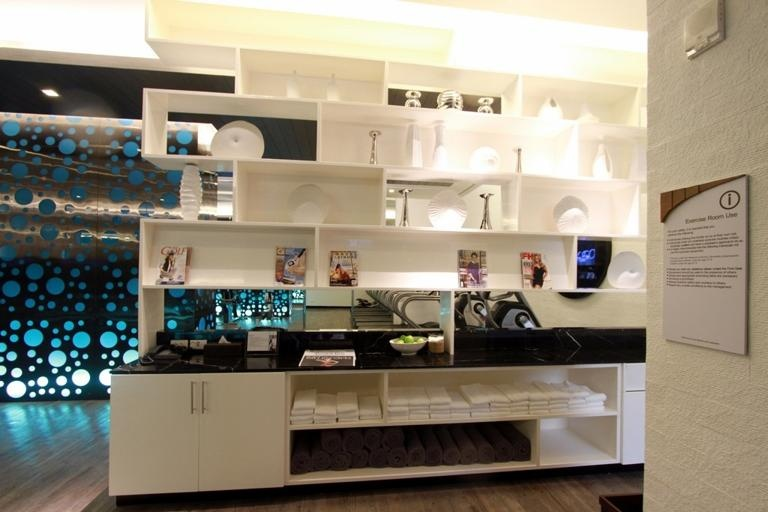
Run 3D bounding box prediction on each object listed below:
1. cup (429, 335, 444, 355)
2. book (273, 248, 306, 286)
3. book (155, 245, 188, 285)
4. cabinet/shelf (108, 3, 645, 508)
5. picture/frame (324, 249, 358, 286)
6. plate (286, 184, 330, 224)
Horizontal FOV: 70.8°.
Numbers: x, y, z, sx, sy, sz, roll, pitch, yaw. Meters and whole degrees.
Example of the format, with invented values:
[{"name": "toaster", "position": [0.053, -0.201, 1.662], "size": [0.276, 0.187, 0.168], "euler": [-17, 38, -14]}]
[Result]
[{"name": "cup", "position": [0.462, 0.770, 4.718], "size": [0.146, 0.135, 0.144], "euler": [2, -4, 0]}, {"name": "book", "position": [-0.810, 0.097, 4.658], "size": [0.303, 0.401, 0.043], "euler": [6, -20, -9]}, {"name": "book", "position": [-1.773, 0.073, 4.562], "size": [0.223, 0.303, 0.073], "euler": [3, -9, -4]}, {"name": "cabinet/shelf", "position": [0.053, 0.031, 4.689], "size": [4.523, 3.699, 0.978], "euler": [0, 0, -8]}, {"name": "picture/frame", "position": [-0.373, 0.107, 4.735], "size": [0.308, 0.369, 0.050], "euler": [4, -17, -7]}, {"name": "plate", "position": [-0.648, -0.464, 4.712], "size": [0.329, 0.351, 0.137], "euler": [0, -3, -13]}]
